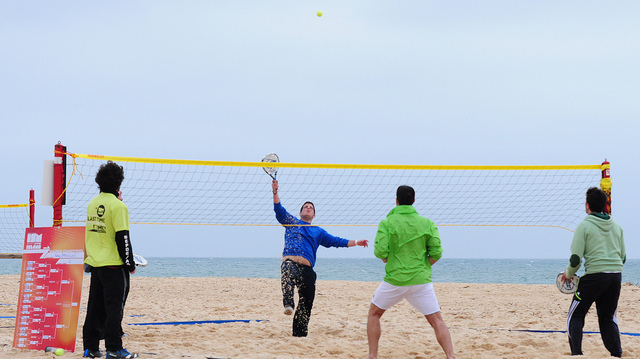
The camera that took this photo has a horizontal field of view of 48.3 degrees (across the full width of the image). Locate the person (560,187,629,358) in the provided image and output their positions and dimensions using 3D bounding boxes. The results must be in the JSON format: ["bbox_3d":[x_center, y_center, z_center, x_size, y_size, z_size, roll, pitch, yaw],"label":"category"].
[{"bbox_3d":[4.640,1.544,11.966,1.020,2.818,0.328,1,-5,-5],"label":"person"}]

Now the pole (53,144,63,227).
[{"bbox_3d":[-4.485,0.098,12.198,0.158,1.400,0.181,2,-5,-20],"label":"pole"}]

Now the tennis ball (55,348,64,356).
[{"bbox_3d":[-4.292,2.814,11.731,0.094,0.087,0.104,-12,15,-36],"label":"tennis ball"}]

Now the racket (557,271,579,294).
[{"bbox_3d":[4.239,1.740,12.121,0.361,0.365,0.271,-1,-5,23],"label":"racket"}]

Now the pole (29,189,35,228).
[{"bbox_3d":[-6.445,0.636,15.896,0.092,0.783,0.303,3,-5,-25],"label":"pole"}]

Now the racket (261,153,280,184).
[{"bbox_3d":[-0.728,-0.174,10.730,0.235,0.726,0.128,-24,-52,2],"label":"racket"}]

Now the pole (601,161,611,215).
[{"bbox_3d":[4.995,0.137,12.398,0.119,0.926,0.509,-1,-5,21],"label":"pole"}]
